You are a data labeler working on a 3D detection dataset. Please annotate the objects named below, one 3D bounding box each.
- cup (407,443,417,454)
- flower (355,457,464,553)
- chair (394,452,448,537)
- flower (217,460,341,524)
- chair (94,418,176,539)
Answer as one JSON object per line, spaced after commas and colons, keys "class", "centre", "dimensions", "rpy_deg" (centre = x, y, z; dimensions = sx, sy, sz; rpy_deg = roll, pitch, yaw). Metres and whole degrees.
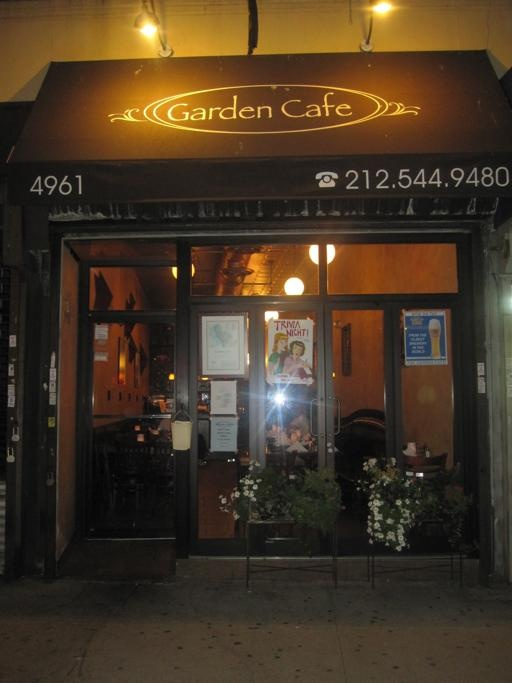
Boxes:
{"class": "cup", "centre": [1.400, 0.966, 6.469], "dimensions": [0.075, 0.090, 0.089], "rpy_deg": [2, -13, -6]}
{"class": "flower", "centre": [1.352, 1.452, 6.151], "dimensions": [0.914, 0.822, 0.789], "rpy_deg": [0, 1, -8]}
{"class": "chair", "centre": [1.496, 1.312, 6.224], "dimensions": [0.527, 0.918, 0.541], "rpy_deg": [3, -7, -6]}
{"class": "flower", "centre": [0.217, 1.354, 6.194], "dimensions": [0.999, 0.503, 0.687], "rpy_deg": [0, 1, 5]}
{"class": "chair", "centre": [-1.249, 1.377, 7.385], "dimensions": [0.882, 1.150, 0.507], "rpy_deg": [0, 1, -17]}
